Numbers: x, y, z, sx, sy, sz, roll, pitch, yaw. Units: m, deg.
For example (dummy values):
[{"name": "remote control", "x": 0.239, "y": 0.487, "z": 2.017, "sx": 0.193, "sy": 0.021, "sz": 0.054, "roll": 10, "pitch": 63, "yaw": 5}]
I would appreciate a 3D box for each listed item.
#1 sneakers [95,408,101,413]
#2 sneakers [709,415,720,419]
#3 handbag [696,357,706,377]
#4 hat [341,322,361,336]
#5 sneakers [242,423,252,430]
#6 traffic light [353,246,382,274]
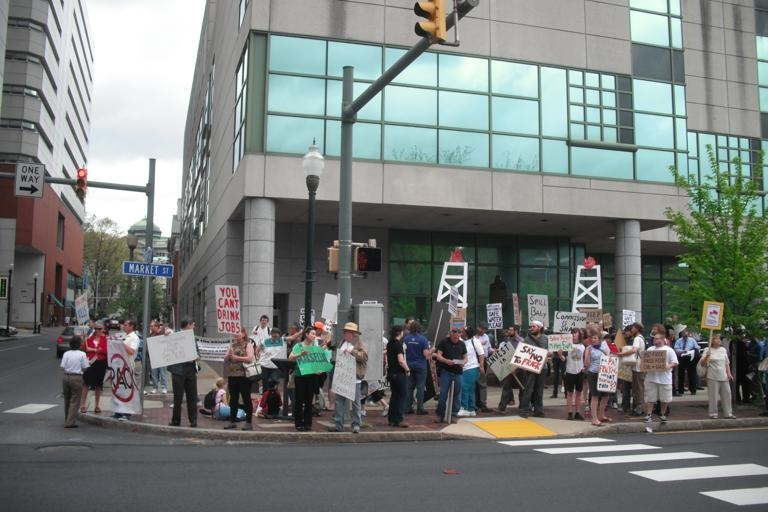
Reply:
[{"name": "sneakers", "x": -9.471, "y": 5.147, "z": 25.957, "sx": 0.103, "sy": 0.117, "sz": 0.176, "roll": 1, "pitch": -17, "yaw": -9}, {"name": "sneakers", "x": 11.042, "y": 5.415, "z": 26.282, "sx": 0.113, "sy": 0.133, "sz": 0.327, "roll": 0, "pitch": -14, "yaw": 1}, {"name": "handbag", "x": 10.938, "y": 3.878, "z": 27.065, "sx": 0.176, "sy": 0.585, "sz": 0.413, "roll": 3, "pitch": -12, "yaw": 6}, {"name": "hat", "x": -0.960, "y": 2.279, "z": 23.856, "sx": 0.404, "sy": 0.161, "sz": 0.369, "roll": 25, "pitch": -14, "yaw": -11}, {"name": "sneakers", "x": -4.134, "y": 5.160, "z": 23.702, "sx": 0.277, "sy": 0.178, "sz": 0.413, "roll": 2, "pitch": -8, "yaw": -7}, {"name": "traffic light", "x": -0.534, "y": 0.124, "z": 24.470, "sx": 0.816, "sy": 0.743, "sz": 0.467, "roll": 0, "pitch": -7, "yaw": 11}]
